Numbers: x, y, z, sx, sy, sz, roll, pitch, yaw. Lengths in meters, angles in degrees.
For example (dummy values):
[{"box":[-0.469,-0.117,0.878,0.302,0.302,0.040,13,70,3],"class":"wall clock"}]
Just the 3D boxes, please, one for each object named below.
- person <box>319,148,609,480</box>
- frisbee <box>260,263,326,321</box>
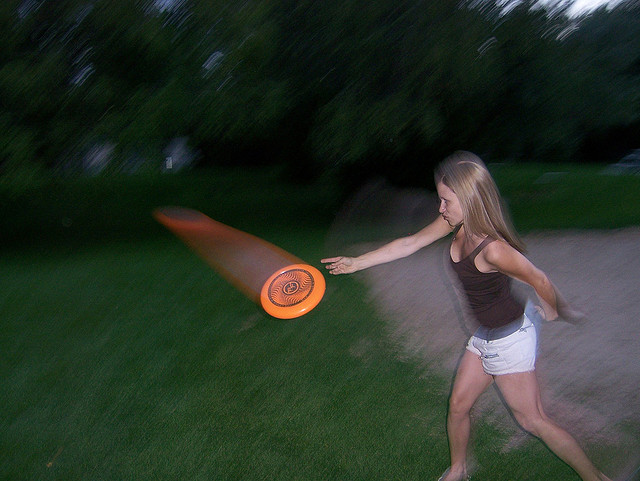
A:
[{"box":[1.487,0.762,3.678,1.280,2.877,0.477,5,18,13],"class":"person"},{"box":[-0.278,0.596,5.044,0.641,0.152,0.646,-20,55,2],"class":"frisbee"}]
